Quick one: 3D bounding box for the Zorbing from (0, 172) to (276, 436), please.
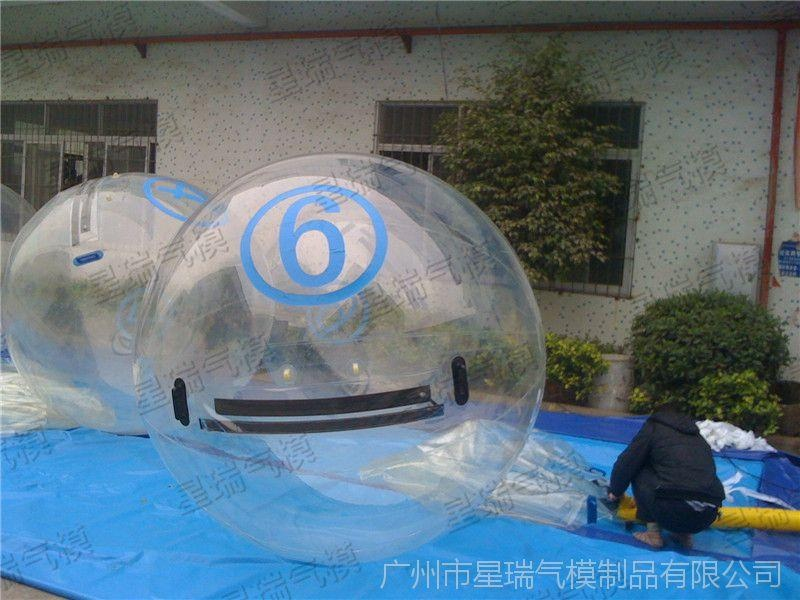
[{"bbox_3d":[-2.349,0.043,6.602,1.849,2.543,1.958,3,-10,-24],"label":"Zorbing"}]

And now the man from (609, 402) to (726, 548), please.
[{"bbox_3d":[2.035,1.326,5.379,0.671,1.050,0.703,16,-9,-30],"label":"man"}]

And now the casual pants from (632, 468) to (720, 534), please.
[{"bbox_3d":[1.940,1.396,5.142,0.373,0.284,0.517,4,-10,-7],"label":"casual pants"}]

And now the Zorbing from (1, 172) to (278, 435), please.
[{"bbox_3d":[-2.380,-0.073,6.606,1.836,2.550,1.960,1,-4,-21],"label":"Zorbing"}]

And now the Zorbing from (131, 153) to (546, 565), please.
[{"bbox_3d":[-0.425,0.284,5.386,2.161,2.639,2.312,-6,2,-4],"label":"Zorbing"}]

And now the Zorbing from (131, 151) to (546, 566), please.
[{"bbox_3d":[-0.560,0.531,5.432,2.385,2.979,2.625,4,11,33],"label":"Zorbing"}]

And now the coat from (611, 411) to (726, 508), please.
[{"bbox_3d":[1.928,1.140,5.198,0.749,0.766,0.545,6,-18,9],"label":"coat"}]

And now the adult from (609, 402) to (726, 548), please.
[{"bbox_3d":[1.922,1.302,5.421,0.702,1.125,0.845,8,0,-21],"label":"adult"}]
